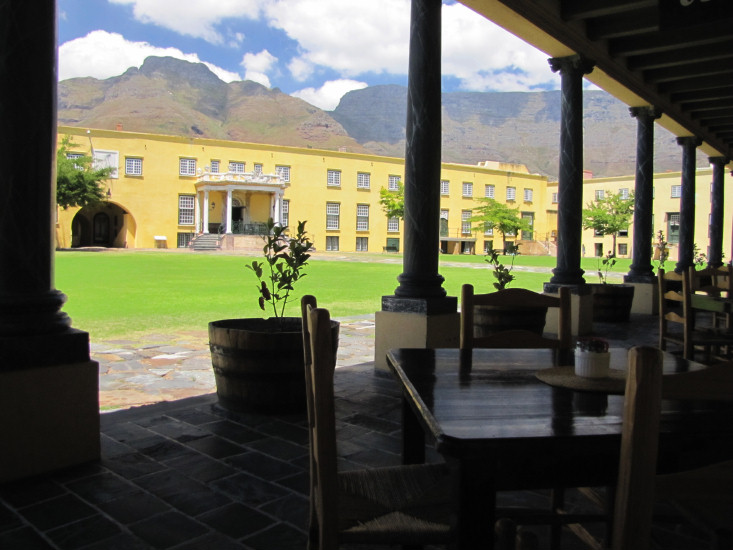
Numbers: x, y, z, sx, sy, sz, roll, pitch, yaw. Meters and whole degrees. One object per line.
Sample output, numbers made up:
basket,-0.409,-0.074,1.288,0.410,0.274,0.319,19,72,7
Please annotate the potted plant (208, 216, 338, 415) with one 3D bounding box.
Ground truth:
potted plant,-0.781,0.333,5.368,0.984,1.354,0.991,-1,-7,41

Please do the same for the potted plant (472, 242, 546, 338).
potted plant,1.544,0.142,7.425,1.060,1.388,1.103,0,4,3

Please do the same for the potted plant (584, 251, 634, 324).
potted plant,3.969,0.099,10.513,0.802,1.060,0.771,-8,7,-15
